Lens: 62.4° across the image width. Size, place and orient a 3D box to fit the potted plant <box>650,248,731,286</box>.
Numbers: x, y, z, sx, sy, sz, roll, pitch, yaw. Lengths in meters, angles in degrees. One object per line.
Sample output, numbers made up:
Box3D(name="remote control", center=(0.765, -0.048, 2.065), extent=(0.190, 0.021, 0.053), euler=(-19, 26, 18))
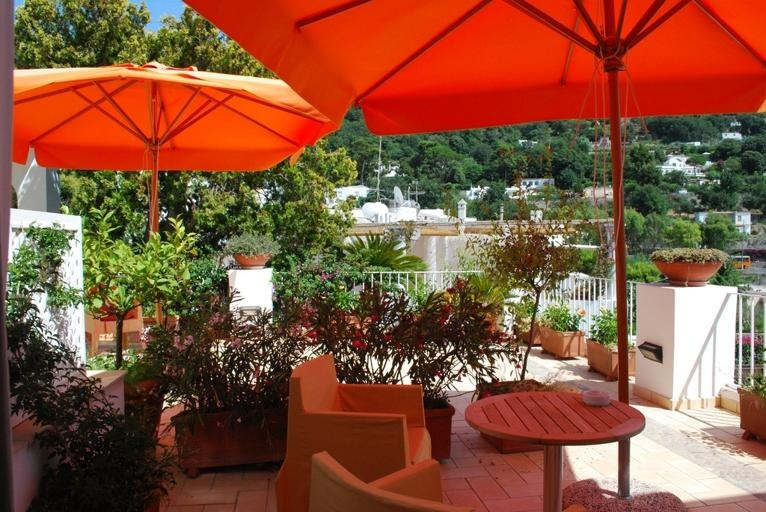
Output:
Box3D(name="potted plant", center=(3.107, 0.092, 6.501), extent=(0.453, 0.282, 0.481), euler=(2, -5, -6))
